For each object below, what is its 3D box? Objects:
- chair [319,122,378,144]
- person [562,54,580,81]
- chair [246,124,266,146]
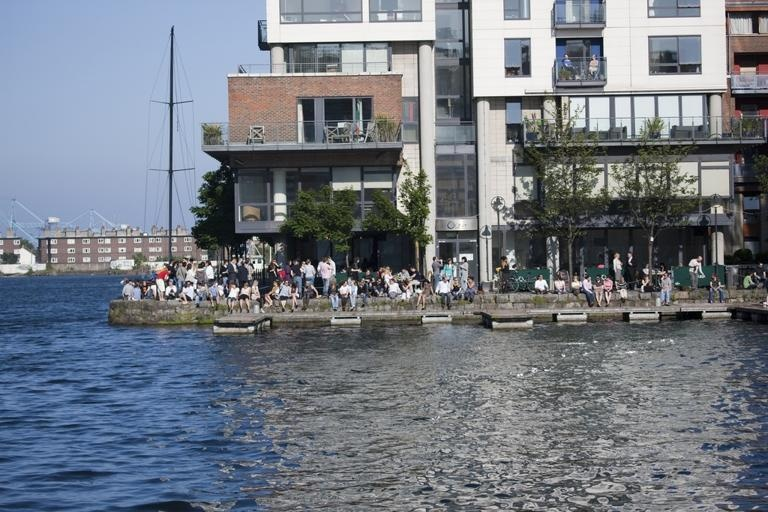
[{"bbox_3d":[-2.188,-7.680,103.939,3.392,1.311,0.583,-1,-2,4],"label":"chair"},{"bbox_3d":[12.025,-12.081,107.286,1.004,1.705,0.459,-2,-2,11],"label":"person"},{"bbox_3d":[-8.273,-7.547,104.354,1.160,2.211,1.171,0,-8,-3],"label":"chair"}]
